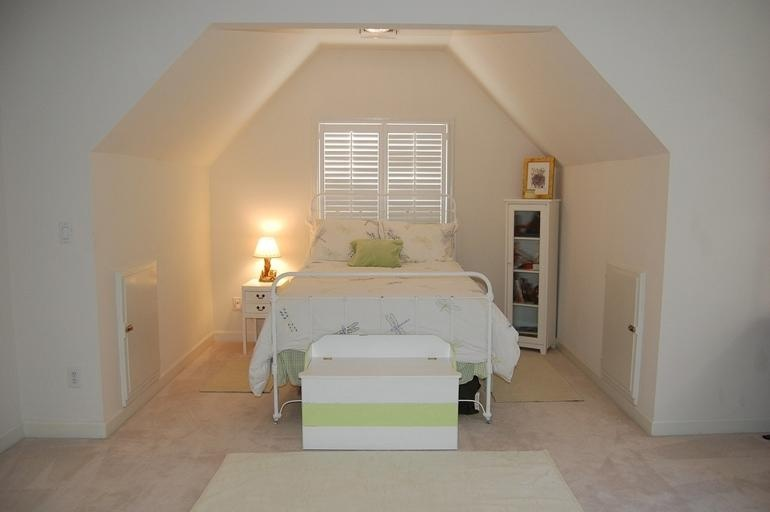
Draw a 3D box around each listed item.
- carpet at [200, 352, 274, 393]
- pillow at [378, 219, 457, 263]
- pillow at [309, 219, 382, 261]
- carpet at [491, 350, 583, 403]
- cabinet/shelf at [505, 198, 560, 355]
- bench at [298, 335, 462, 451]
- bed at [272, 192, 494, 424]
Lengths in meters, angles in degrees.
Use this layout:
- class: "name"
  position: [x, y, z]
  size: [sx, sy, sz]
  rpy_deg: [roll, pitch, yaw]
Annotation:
- class: "carpet"
  position: [-1.361, 1.009, 4.799]
  size: [0.391, 0.126, 0.788]
  rpy_deg: [-2, 4, -15]
- class: "pillow"
  position: [0.362, -0.118, 5.236]
  size: [0.629, 0.368, 0.158]
  rpy_deg: [-2, -13, -3]
- class: "pillow"
  position: [-0.401, -0.157, 5.247]
  size: [0.491, 0.437, 0.114]
  rpy_deg: [-1, -17, -9]
- class: "carpet"
  position: [1.243, 1.019, 4.775]
  size: [0.702, 0.148, 0.972]
  rpy_deg: [-1, 4, 6]
- class: "cabinet/shelf"
  position: [1.334, 0.134, 5.312]
  size: [0.463, 1.444, 0.335]
  rpy_deg: [4, 21, 21]
- class: "bench"
  position: [-0.034, 0.905, 3.895]
  size: [1.033, 0.627, 0.552]
  rpy_deg: [0, 4, 1]
- class: "bed"
  position: [0.015, 0.197, 5.009]
  size: [1.576, 1.090, 2.182]
  rpy_deg: [0, 3, 0]
